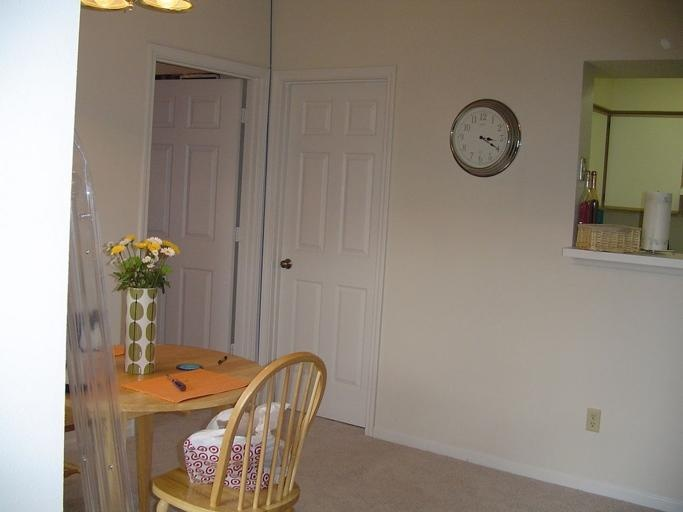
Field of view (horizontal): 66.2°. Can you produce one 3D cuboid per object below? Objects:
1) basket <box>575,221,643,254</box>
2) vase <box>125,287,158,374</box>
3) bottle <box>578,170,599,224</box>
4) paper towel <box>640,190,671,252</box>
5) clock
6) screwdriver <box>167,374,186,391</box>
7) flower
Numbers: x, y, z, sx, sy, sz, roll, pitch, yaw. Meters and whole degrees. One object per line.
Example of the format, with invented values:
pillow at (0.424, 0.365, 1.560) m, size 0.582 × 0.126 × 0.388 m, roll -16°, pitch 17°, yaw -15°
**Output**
basket at (1.554, -0.100, 3.047) m, size 0.263 × 0.142 × 0.184 m, roll 3°, pitch -3°, yaw 10°
vase at (-0.827, 0.304, 2.187) m, size 0.135 × 0.358 × 0.121 m, roll -3°, pitch 9°, yaw -37°
bottle at (1.496, -0.350, 3.136) m, size 0.142 × 0.315 × 0.094 m, roll -2°, pitch 9°, yaw -34°
paper towel at (1.801, -0.201, 2.994) m, size 0.132 × 0.323 × 0.135 m, roll -4°, pitch 12°, yaw -16°
clock at (0.906, -0.802, 3.339) m, size 0.388 × 0.436 × 0.097 m, roll 12°, pitch -14°, yaw -1°
screwdriver at (-0.644, 0.501, 2.047) m, size 0.029 × 0.032 × 0.173 m, roll -17°, pitch 21°, yaw -25°
flower at (-0.839, 0.058, 2.216) m, size 0.248 × 0.269 × 0.250 m, roll -6°, pitch -2°, yaw -24°
